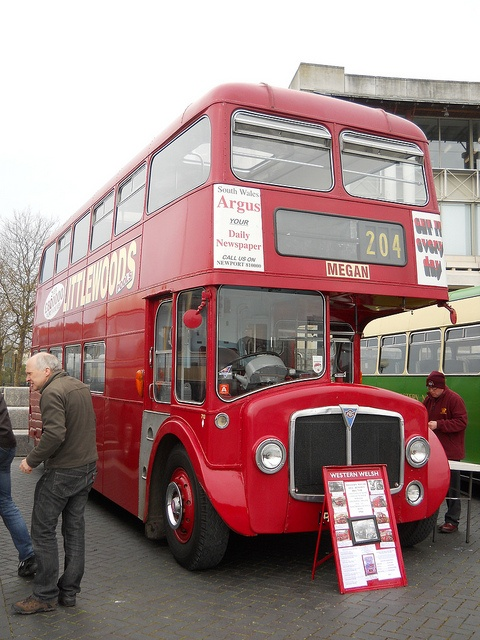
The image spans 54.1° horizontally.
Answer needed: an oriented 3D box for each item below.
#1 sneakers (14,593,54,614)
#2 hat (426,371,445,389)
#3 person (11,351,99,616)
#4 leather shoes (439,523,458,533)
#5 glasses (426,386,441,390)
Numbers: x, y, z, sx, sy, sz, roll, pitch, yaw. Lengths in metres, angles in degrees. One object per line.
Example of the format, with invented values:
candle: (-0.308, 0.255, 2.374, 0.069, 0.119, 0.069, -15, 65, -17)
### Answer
sneakers: (-1.342, 1.846, 3.102, 0.222, 0.131, 0.110, 6, -10, -9)
hat: (2.644, 0.821, 6.355, 0.174, 0.247, 0.235, -1, -7, 15)
person: (-1.302, 1.073, 3.259, 0.453, 1.744, 0.667, -3, -13, 13)
leather shoes: (2.606, 2.555, 5.851, 0.208, 0.095, 0.105, 13, -18, -40)
glasses: (2.634, 0.930, 6.320, 0.108, 0.036, 0.119, 6, -6, -27)
